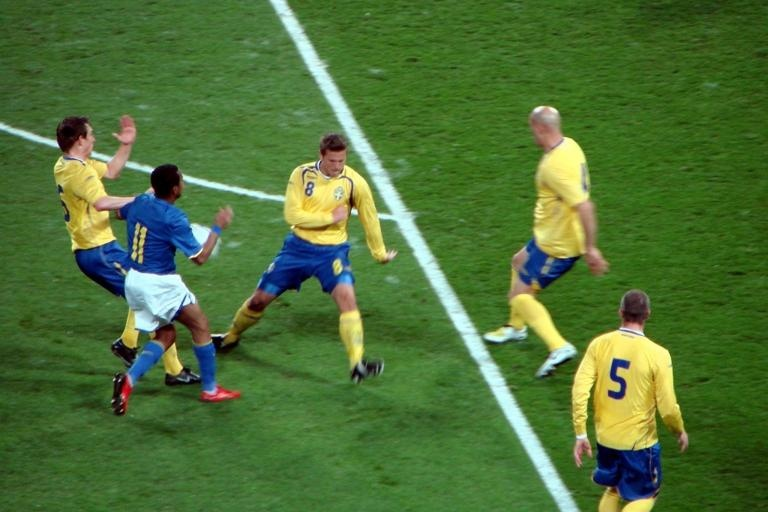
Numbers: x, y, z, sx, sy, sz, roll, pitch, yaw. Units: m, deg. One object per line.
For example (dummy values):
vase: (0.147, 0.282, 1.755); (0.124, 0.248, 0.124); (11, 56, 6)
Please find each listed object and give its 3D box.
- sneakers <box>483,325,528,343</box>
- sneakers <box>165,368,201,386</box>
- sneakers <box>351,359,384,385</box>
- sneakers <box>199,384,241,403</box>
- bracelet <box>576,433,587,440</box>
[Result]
sneakers: (1.200, 0.776, 13.477); (0.510, 0.146, 0.134); (-4, 45, -5)
sneakers: (-1.905, 1.174, 13.086); (0.362, 0.101, 0.155); (-1, 5, -7)
sneakers: (-0.152, 1.070, 12.620); (0.310, 0.105, 0.225); (-8, 13, -43)
sneakers: (-1.550, 1.304, 12.881); (0.445, 0.117, 0.128); (-3, 10, -8)
bracelet: (1.681, 1.548, 11.632); (0.083, 0.041, 0.066); (-4, 14, -6)
